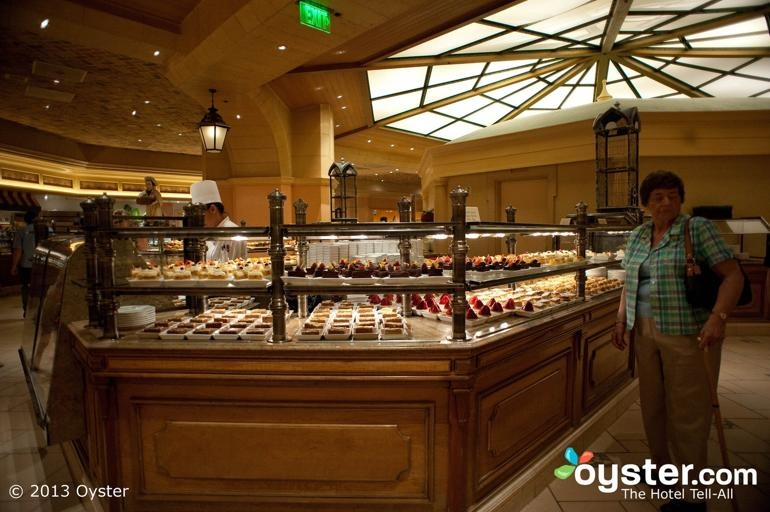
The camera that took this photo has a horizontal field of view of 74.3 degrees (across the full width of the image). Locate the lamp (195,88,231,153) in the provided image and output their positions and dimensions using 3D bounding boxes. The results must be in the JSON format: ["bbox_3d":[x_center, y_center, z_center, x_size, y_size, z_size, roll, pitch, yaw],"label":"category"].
[{"bbox_3d":[-2.895,-2.320,8.566,0.558,1.047,0.505,-1,-2,-43],"label":"lamp"}]

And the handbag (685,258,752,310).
[{"bbox_3d":[2.886,0.265,4.554,0.587,0.484,0.397,-3,2,11],"label":"handbag"}]

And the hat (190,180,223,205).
[{"bbox_3d":[-2.227,-0.830,6.599,0.525,0.371,0.401,-5,9,-27],"label":"hat"}]

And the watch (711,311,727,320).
[{"bbox_3d":[2.935,0.521,4.447,0.089,0.037,0.080,5,1,-2],"label":"watch"}]
